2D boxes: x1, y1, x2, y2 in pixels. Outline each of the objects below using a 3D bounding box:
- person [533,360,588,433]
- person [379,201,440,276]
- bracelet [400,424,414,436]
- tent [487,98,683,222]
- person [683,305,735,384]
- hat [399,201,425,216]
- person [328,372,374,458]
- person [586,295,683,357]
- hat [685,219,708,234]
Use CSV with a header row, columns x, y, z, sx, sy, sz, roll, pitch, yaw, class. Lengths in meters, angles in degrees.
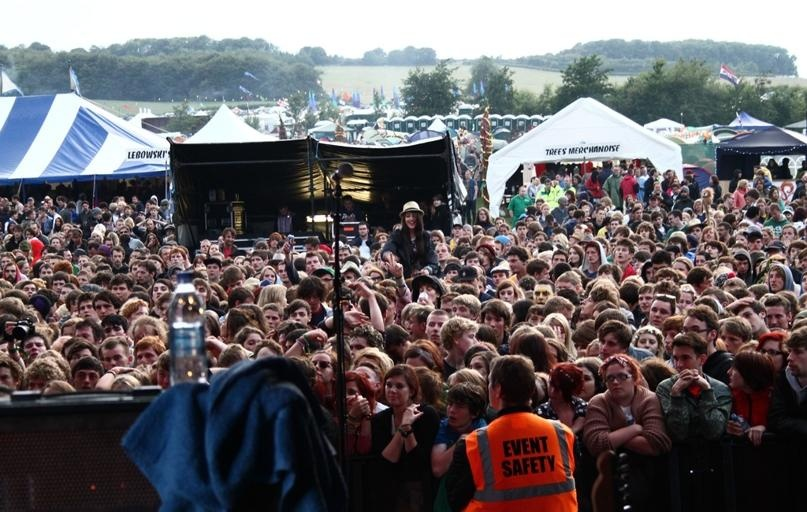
x,y,z,sx,sy,sz,roll,pitch,yaw,class
2.512,2.217,19.380,1.187,0.952,0.539,6,-41,-3,person
0.141,-0.125,25.129,1.288,1.746,1.164,-5,24,-17,person
0.088,2.634,18.970,0.152,0.091,0.194,1,-1,-35,bracelet
5.498,-3.548,40.800,5.695,2.660,4.131,-1,2,5,tent
4.772,1.433,19.788,0.682,0.883,1.186,5,-3,-9,person
0.255,-1.016,26.837,0.504,0.233,0.642,0,-13,1,hat
-0.669,2.415,19.126,0.875,1.071,0.464,-3,6,33,person
3.813,1.151,20.422,0.778,0.992,1.519,0,1,41,person
6.402,-0.667,27.744,0.341,0.299,0.341,0,1,0,hat
